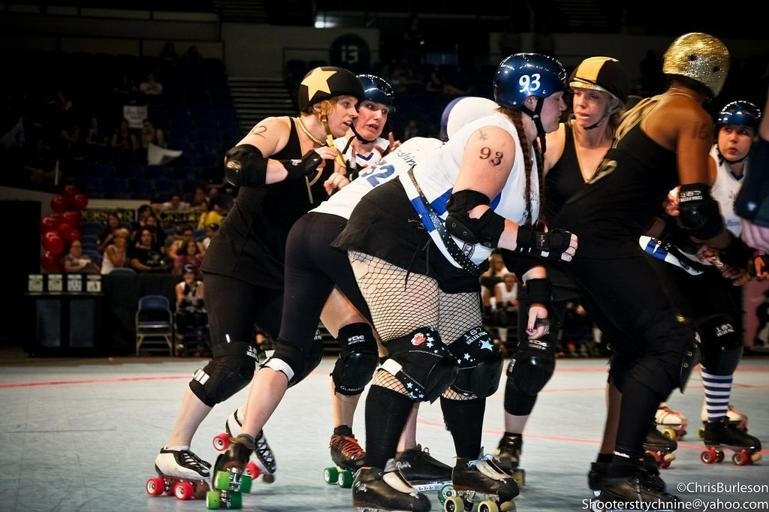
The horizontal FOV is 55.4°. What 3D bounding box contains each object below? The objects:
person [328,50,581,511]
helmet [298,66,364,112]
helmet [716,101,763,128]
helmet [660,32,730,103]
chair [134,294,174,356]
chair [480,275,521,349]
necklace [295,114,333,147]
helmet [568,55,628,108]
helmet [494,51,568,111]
[{"bbox_3d":[0.369,0.119,4.100,1.249,2.570,0.523,0,5,-11],"label":"person"},{"bbox_3d":[-0.364,-1.071,4.766,0.349,0.281,0.275,-22,-7,14],"label":"helmet"},{"bbox_3d":[2.670,-1.027,5.457,0.240,0.149,0.244,8,3,-2],"label":"helmet"},{"bbox_3d":[1.978,-1.233,4.677,0.423,0.379,0.341,24,2,36],"label":"helmet"},{"bbox_3d":[-3.804,1.129,12.011,0.751,1.245,0.887,1,-4,-11],"label":"chair"},{"bbox_3d":[1.968,0.896,12.210,1.014,1.308,0.509,0,-2,3],"label":"chair"},{"bbox_3d":[-0.457,-0.780,4.658,0.066,0.240,0.183,-42,7,-12],"label":"necklace"},{"bbox_3d":[1.340,-1.103,4.527,0.299,0.253,0.325,18,11,14],"label":"helmet"},{"bbox_3d":[0.842,-1.006,4.223,0.377,0.300,0.308,5,3,4],"label":"helmet"}]
